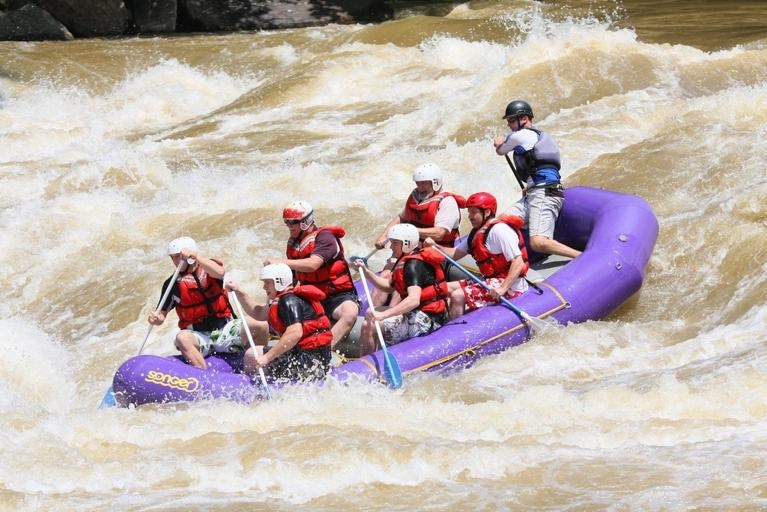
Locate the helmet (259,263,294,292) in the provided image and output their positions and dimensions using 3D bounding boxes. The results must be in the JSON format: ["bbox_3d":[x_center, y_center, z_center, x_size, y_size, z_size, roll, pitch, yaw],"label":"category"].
[{"bbox_3d":[-1.300,0.259,10.726,0.393,0.275,0.283,-1,0,-8],"label":"helmet"}]

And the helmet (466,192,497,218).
[{"bbox_3d":[1.313,-0.678,11.816,0.404,0.337,0.293,6,-2,-13],"label":"helmet"}]

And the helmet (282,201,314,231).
[{"bbox_3d":[-1.098,-0.533,11.540,0.428,0.317,0.308,-20,30,-3],"label":"helmet"}]

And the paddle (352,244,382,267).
[{"bbox_3d":[-0.235,-0.003,11.677,0.449,0.246,0.119,-36,-3,-3],"label":"paddle"}]

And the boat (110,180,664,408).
[{"bbox_3d":[0.532,0.931,11.411,6.237,1.149,3.047,-21,22,-4],"label":"boat"}]

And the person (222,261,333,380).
[{"bbox_3d":[-1.233,0.845,10.804,1.037,1.371,0.959,-2,32,22],"label":"person"}]

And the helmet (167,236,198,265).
[{"bbox_3d":[-2.478,-0.074,11.189,0.421,0.292,0.296,-7,-11,-33],"label":"helmet"}]

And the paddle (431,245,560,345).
[{"bbox_3d":[1.432,0.536,11.388,1.771,0.346,0.269,37,22,11],"label":"paddle"}]

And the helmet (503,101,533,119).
[{"bbox_3d":[1.967,-2.158,12.864,0.375,0.185,0.281,2,-9,-17],"label":"helmet"}]

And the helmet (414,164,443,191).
[{"bbox_3d":[0.636,-1.104,12.287,0.421,0.330,0.318,-22,25,-15],"label":"helmet"}]

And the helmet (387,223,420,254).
[{"bbox_3d":[0.296,-0.253,11.448,0.428,0.304,0.310,8,-11,-20],"label":"helmet"}]

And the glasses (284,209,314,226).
[{"bbox_3d":[-1.098,-0.477,11.423,0.276,0.113,0.205,7,-12,-36],"label":"glasses"}]
